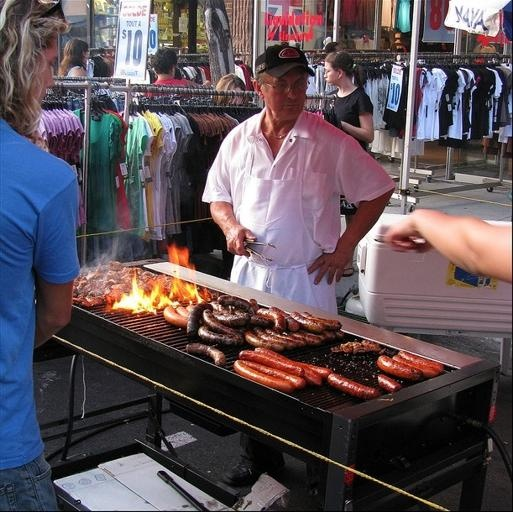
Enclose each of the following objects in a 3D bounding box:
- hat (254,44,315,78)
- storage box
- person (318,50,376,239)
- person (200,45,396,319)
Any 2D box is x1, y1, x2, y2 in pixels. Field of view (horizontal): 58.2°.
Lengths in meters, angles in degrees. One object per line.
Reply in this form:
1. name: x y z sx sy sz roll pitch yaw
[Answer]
1. hat: 0.160 -1.083 2.546 0.320 0.235 0.308 1 10 -1
2. storage box: 1.123 0.016 3.157 1.072 0.729 0.706 4 16 10
3. person: 1.220 -1.458 6.218 0.721 2.383 0.769 -7 22 -27
4. person: 0.229 -0.135 2.938 0.754 2.009 0.756 -1 7 -15
